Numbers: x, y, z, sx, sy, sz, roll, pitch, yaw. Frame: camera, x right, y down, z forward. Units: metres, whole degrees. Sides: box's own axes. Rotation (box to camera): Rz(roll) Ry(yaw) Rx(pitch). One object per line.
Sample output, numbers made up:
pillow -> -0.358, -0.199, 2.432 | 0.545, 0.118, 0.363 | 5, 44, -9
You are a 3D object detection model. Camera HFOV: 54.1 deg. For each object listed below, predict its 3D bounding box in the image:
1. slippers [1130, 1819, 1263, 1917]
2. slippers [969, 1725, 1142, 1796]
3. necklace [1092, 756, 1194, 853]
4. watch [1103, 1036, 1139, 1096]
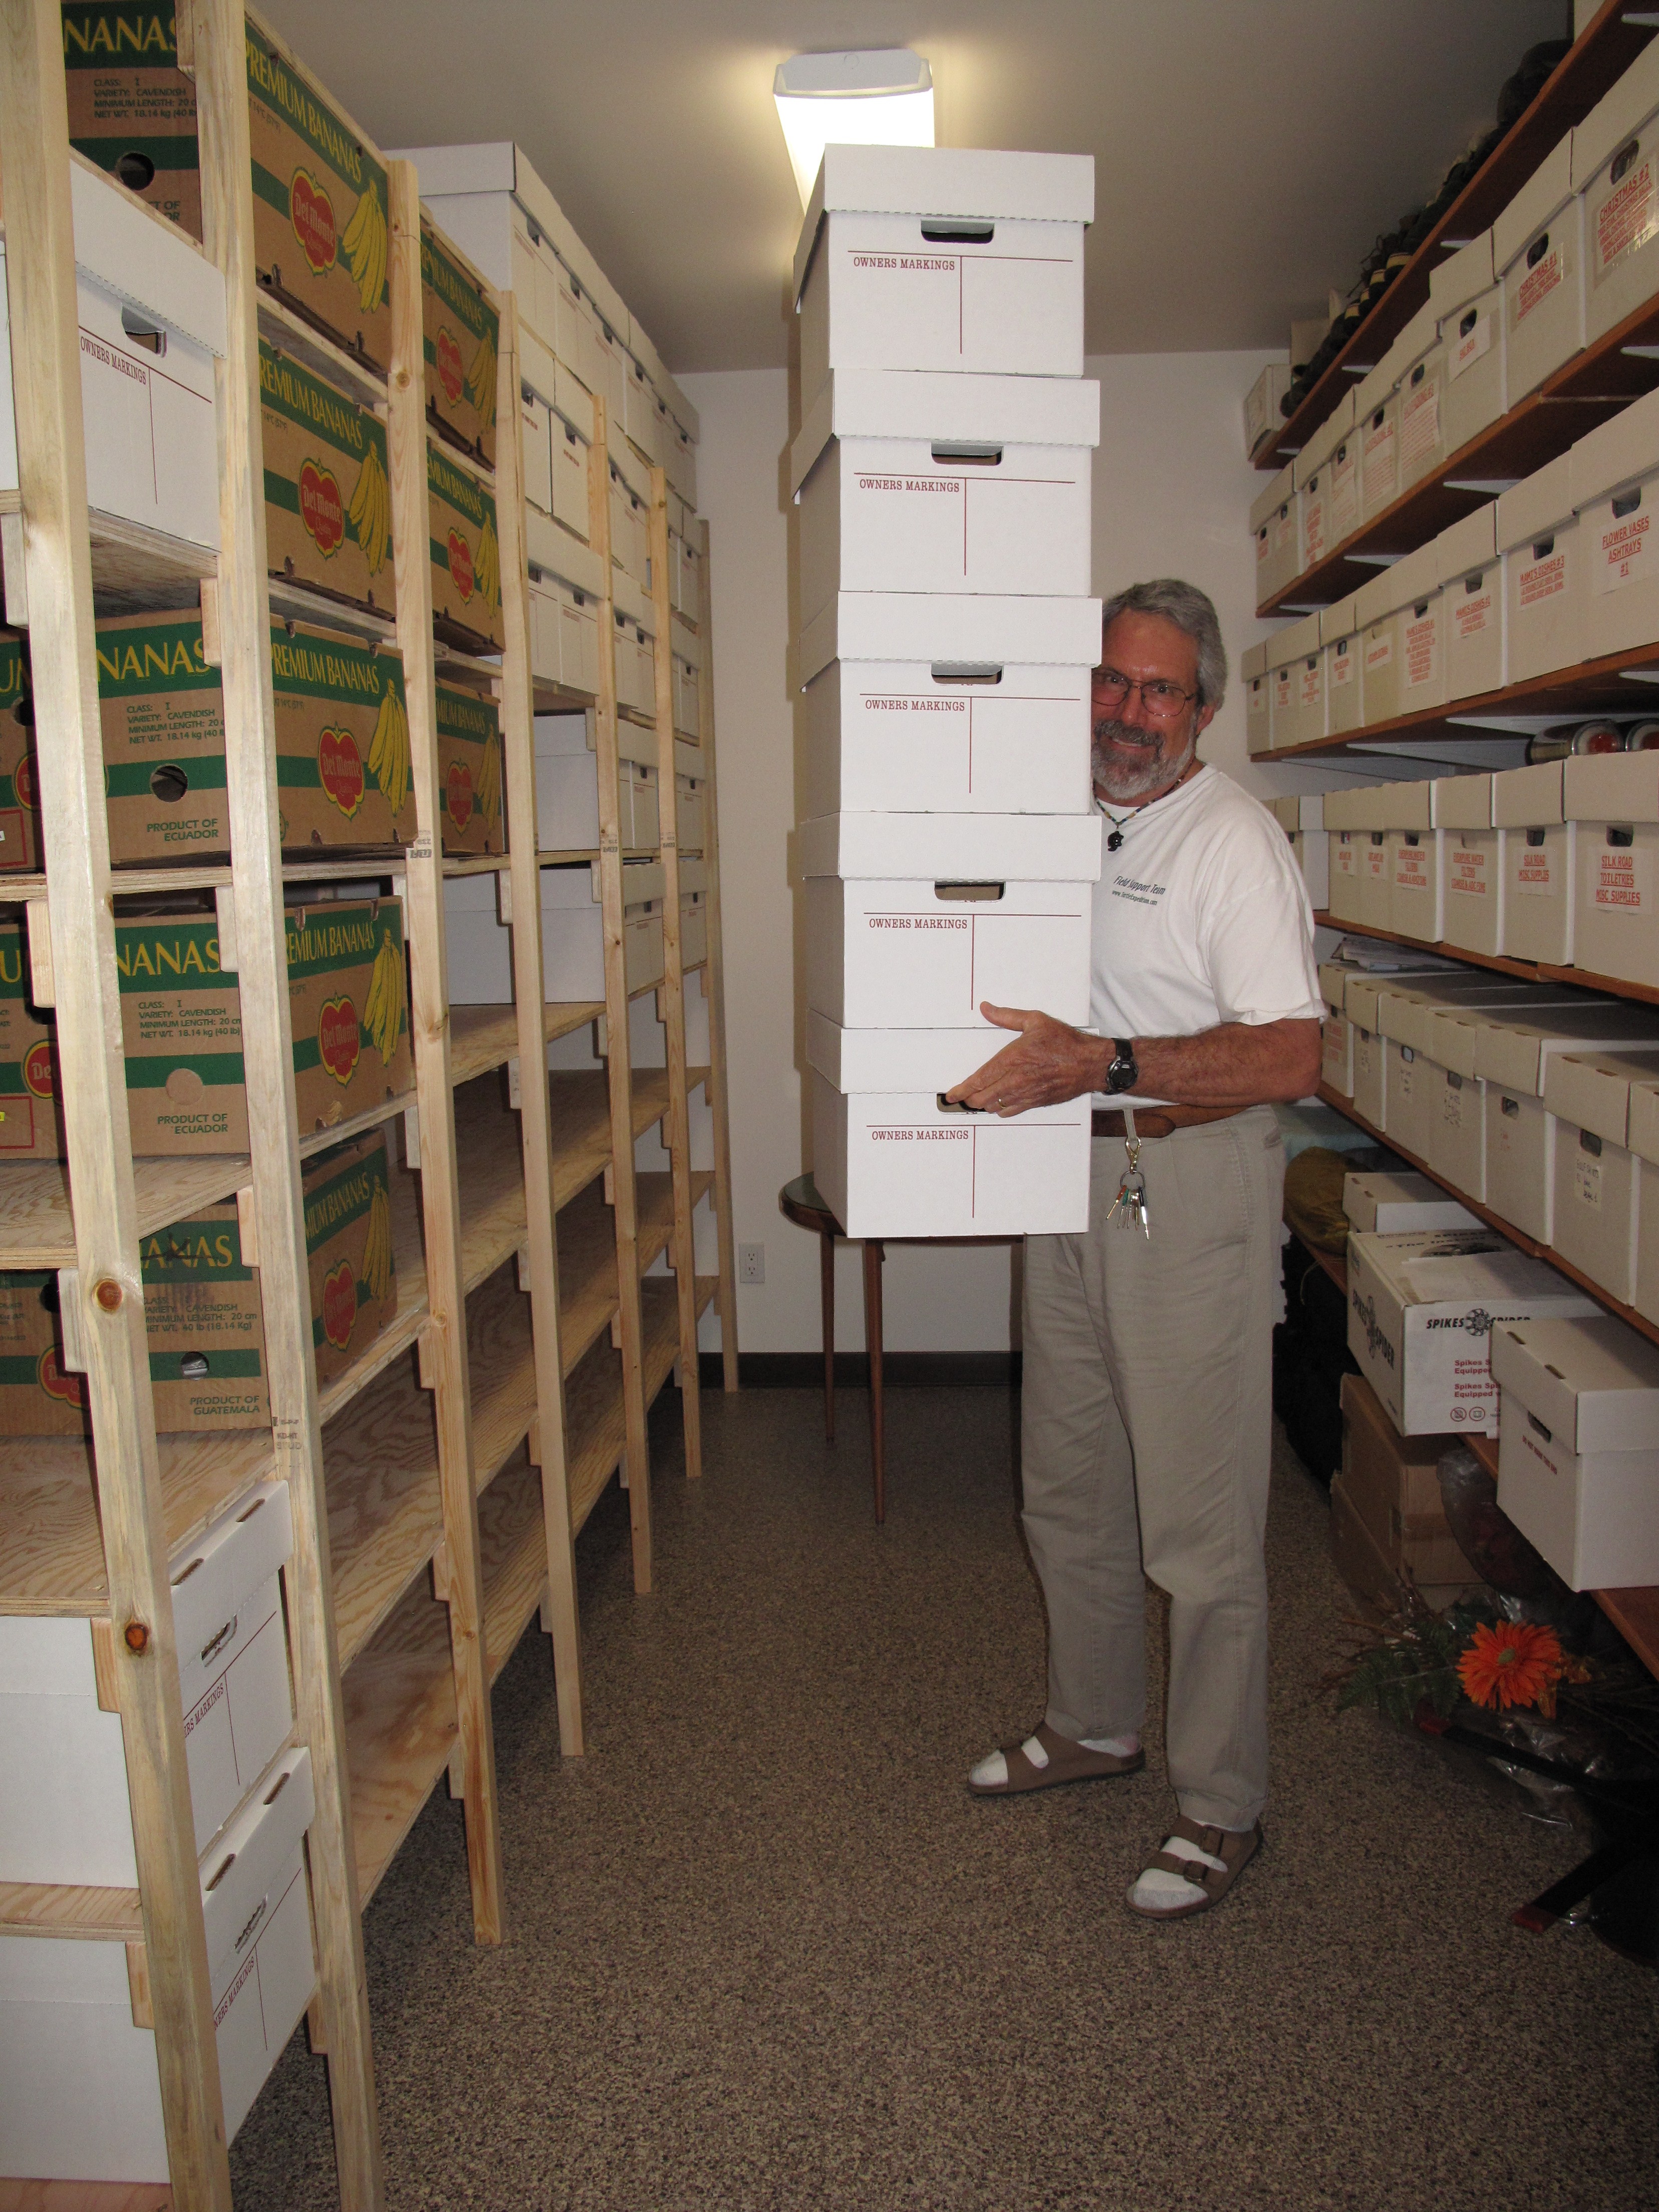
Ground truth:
slippers -> 0.448, 0.942, 2.042 | 0.073, 0.068, 0.164 | -9, -7, 39
slippers -> 0.312, 0.940, 2.364 | 0.266, 0.117, 0.095 | 0, 2, -5
necklace -> 0.396, -0.388, 2.047 | 0.097, 0.129, 0.135 | -3, -10, 13
watch -> 0.321, -0.043, 1.785 | 0.037, 0.060, 0.051 | 2, 5, 6
